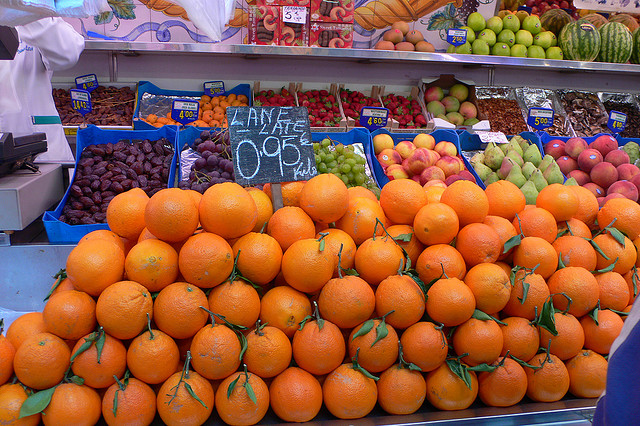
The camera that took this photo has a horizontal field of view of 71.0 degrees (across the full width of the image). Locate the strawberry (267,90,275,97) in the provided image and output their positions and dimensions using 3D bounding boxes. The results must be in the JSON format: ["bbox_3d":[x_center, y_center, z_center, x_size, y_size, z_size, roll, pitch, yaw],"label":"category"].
[{"bbox_3d":[-0.511,-1.225,4.652,0.065,0.066,0.088,-16,37,5],"label":"strawberry"}]

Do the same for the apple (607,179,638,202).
[{"bbox_3d":[2.111,-0.147,3.139,0.148,0.146,0.140,5,-8,12],"label":"apple"}]

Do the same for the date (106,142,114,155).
[{"bbox_3d":[-1.580,-0.477,3.368,0.044,0.023,0.080,8,42,-15],"label":"date"}]

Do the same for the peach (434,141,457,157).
[{"bbox_3d":[1.015,-0.508,3.605,0.142,0.138,0.132,-14,22,-42],"label":"peach"}]

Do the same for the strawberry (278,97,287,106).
[{"bbox_3d":[-0.382,-1.123,4.557,0.073,0.069,0.074,-3,11,1],"label":"strawberry"}]

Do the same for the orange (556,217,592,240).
[{"bbox_3d":[1.320,0.076,2.310,0.146,0.123,0.124,1,-18,35],"label":"orange"}]

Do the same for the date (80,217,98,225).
[{"bbox_3d":[-1.523,0.051,2.943,0.060,0.031,0.094,24,-3,4],"label":"date"}]

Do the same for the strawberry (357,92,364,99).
[{"bbox_3d":[0.421,-1.220,4.724,0.059,0.048,0.067,-1,-4,15],"label":"strawberry"}]

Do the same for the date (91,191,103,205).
[{"bbox_3d":[-1.528,-0.096,3.071,0.062,0.028,0.088,0,46,-17],"label":"date"}]

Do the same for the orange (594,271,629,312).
[{"bbox_3d":[1.460,0.408,2.244,0.156,0.186,0.157,-1,12,-11],"label":"orange"}]

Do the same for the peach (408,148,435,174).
[{"bbox_3d":[0.763,-0.371,3.482,0.184,0.194,0.187,-24,0,8],"label":"peach"}]

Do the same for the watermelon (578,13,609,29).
[{"bbox_3d":[3.099,-2.150,5.115,0.245,0.162,0.293,-9,24,-20],"label":"watermelon"}]

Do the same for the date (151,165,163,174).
[{"bbox_3d":[-1.202,-0.313,3.304,0.076,0.015,0.040,-33,72,-29],"label":"date"}]

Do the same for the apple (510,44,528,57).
[{"bbox_3d":[2.021,-1.629,4.571,0.114,0.121,0.152,-13,13,8],"label":"apple"}]

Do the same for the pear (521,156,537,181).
[{"bbox_3d":[1.502,-0.317,3.217,0.114,0.172,0.120,13,2,39],"label":"pear"}]

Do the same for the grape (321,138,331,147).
[{"bbox_3d":[0.042,-0.500,3.237,0.054,0.056,0.071,-2,4,1],"label":"grape"}]

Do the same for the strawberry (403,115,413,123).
[{"bbox_3d":[0.902,-0.945,4.598,0.078,0.077,0.077,-6,27,-22],"label":"strawberry"}]

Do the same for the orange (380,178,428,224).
[{"bbox_3d":[0.391,-0.063,2.243,0.226,0.219,0.210,-2,4,-17],"label":"orange"}]

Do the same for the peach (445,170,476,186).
[{"bbox_3d":[1.028,-0.212,3.303,0.195,0.107,0.122,-7,4,-16],"label":"peach"}]

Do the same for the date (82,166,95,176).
[{"bbox_3d":[-1.651,-0.296,3.214,0.056,0.043,0.074,27,46,22],"label":"date"}]

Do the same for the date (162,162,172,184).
[{"bbox_3d":[-1.136,-0.288,3.319,0.048,0.133,0.100,15,-21,-33],"label":"date"}]

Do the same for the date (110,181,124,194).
[{"bbox_3d":[-1.430,-0.170,3.146,0.098,0.074,0.055,30,48,-6],"label":"date"}]

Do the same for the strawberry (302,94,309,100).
[{"bbox_3d":[-0.144,-1.183,4.629,0.051,0.051,0.052,-2,15,1],"label":"strawberry"}]

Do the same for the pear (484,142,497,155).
[{"bbox_3d":[1.346,-0.520,3.564,0.078,0.094,0.095,45,25,2],"label":"pear"}]

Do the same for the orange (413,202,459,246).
[{"bbox_3d":[0.558,0.059,2.159,0.233,0.231,0.219,3,19,8],"label":"orange"}]

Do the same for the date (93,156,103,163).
[{"bbox_3d":[-1.635,-0.386,3.300,0.049,0.029,0.050,6,6,15],"label":"date"}]

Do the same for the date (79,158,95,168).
[{"bbox_3d":[-1.680,-0.359,3.243,0.054,0.028,0.075,40,39,12],"label":"date"}]

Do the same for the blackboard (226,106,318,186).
[{"bbox_3d":[-0.245,-0.334,2.280,0.570,0.510,0.044,-2,-12,-19],"label":"blackboard"}]

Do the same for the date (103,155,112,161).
[{"bbox_3d":[-1.590,-0.408,3.347,0.045,0.026,0.061,19,34,17],"label":"date"}]

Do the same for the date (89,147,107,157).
[{"bbox_3d":[-1.660,-0.450,3.340,0.133,0.058,0.063,13,33,8],"label":"date"}]

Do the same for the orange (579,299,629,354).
[{"bbox_3d":[1.420,0.568,2.169,0.212,0.219,0.226,12,-12,-12],"label":"orange"}]

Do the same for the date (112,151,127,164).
[{"bbox_3d":[-1.486,-0.411,3.331,0.104,0.037,0.061,38,55,23],"label":"date"}]

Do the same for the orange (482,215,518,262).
[{"bbox_3d":[0.857,0.144,2.261,0.202,0.236,0.202,6,-12,-10],"label":"orange"}]

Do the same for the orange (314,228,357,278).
[{"bbox_3d":[0.049,0.191,2.132,0.197,0.230,0.197,2,-18,-3],"label":"orange"}]

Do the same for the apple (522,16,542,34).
[{"bbox_3d":[2.209,-1.943,4.684,0.181,0.156,0.155,23,33,-56],"label":"apple"}]

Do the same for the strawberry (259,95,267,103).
[{"bbox_3d":[-0.579,-1.155,4.593,0.059,0.077,0.045,-21,3,5],"label":"strawberry"}]

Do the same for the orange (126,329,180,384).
[{"bbox_3d":[-0.698,0.570,1.938,0.211,0.198,0.208,-4,12,-12],"label":"orange"}]

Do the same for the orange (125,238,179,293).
[{"bbox_3d":[-0.711,0.228,2.049,0.229,0.230,0.216,-11,14,-3],"label":"orange"}]

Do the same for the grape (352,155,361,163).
[{"bbox_3d":[0.264,-0.389,3.235,0.071,0.052,0.050,0,33,-12],"label":"grape"}]

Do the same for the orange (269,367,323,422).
[{"bbox_3d":[-0.106,0.745,1.899,0.208,0.213,0.201,-2,-17,-6],"label":"orange"}]

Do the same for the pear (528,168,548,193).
[{"bbox_3d":[1.438,-0.210,2.944,0.136,0.183,0.139,2,19,32],"label":"pear"}]

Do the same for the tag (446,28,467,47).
[{"bbox_3d":[1.374,-1.738,4.482,0.233,0.207,0.034,-2,28,-3],"label":"tag"}]

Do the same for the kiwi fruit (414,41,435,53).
[{"bbox_3d":[1.062,-1.645,4.508,0.155,0.115,0.092,13,-16,4],"label":"kiwi fruit"}]

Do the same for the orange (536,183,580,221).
[{"bbox_3d":[1.252,-0.042,2.366,0.209,0.207,0.206,-5,-16,32],"label":"orange"}]

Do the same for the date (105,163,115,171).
[{"bbox_3d":[-1.524,-0.329,3.260,0.053,0.040,0.053,-19,7,-8],"label":"date"}]
